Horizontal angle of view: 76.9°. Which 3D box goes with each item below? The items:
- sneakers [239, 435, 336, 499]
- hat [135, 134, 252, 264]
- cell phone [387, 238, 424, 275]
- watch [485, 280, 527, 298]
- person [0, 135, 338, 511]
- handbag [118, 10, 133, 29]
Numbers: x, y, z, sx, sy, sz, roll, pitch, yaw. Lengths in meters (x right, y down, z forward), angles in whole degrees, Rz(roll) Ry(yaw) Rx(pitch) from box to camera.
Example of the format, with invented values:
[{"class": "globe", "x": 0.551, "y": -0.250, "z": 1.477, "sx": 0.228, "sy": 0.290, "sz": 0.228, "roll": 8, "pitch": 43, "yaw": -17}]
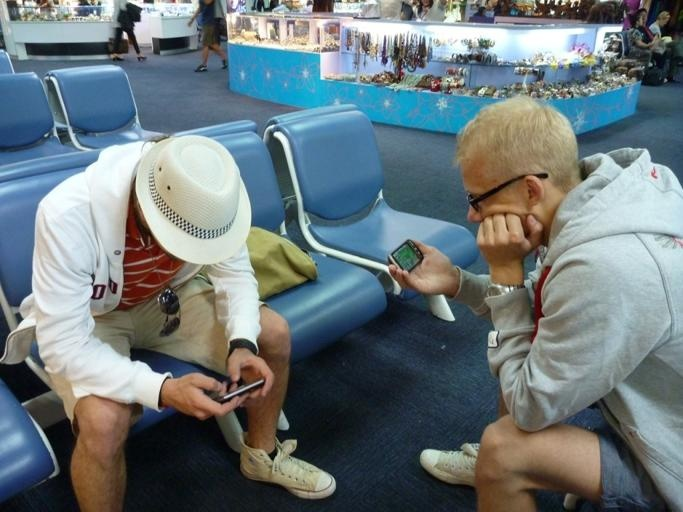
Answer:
[{"class": "sneakers", "x": -0.185, "y": 0.826, "z": 1.729, "sx": 0.427, "sy": 0.207, "sz": 0.175, "roll": 14, "pitch": 40, "yaw": 2}, {"class": "hat", "x": -0.465, "y": -0.113, "z": 1.331, "sx": 0.314, "sy": 0.396, "sz": 0.147, "roll": -35, "pitch": 5, "yaw": -31}, {"class": "cell phone", "x": 0.245, "y": 0.002, "z": 1.679, "sx": 0.124, "sy": 0.030, "sz": 0.126, "roll": -39, "pitch": 85, "yaw": -24}, {"class": "watch", "x": 0.489, "y": 0.103, "z": 1.309, "sx": 0.071, "sy": 0.042, "sz": 0.055, "roll": -2, "pitch": 0, "yaw": 39}, {"class": "person", "x": -0.625, "y": 0.305, "z": 1.539, "sx": 0.878, "sy": 1.269, "sz": 0.826, "roll": 34, "pitch": 38, "yaw": 25}, {"class": "handbag", "x": -5.415, "y": -5.896, "z": 10.729, "sx": 0.241, "sy": 0.467, "sz": 0.328, "roll": 11, "pitch": 22, "yaw": 27}]
